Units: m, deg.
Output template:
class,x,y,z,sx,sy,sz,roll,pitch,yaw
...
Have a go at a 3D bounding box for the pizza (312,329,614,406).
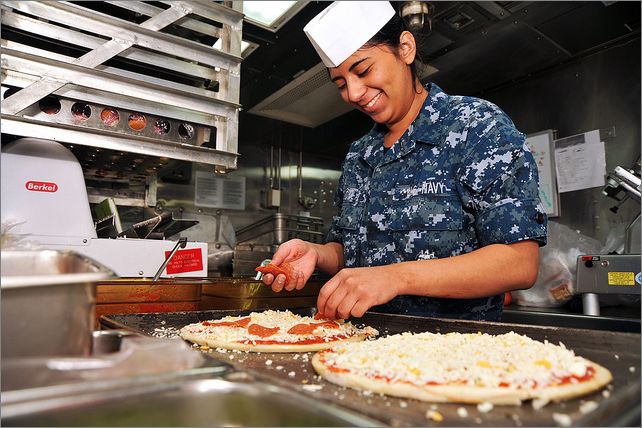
class,x,y,z,sx,sy,sz,roll,pitch,yaw
pizza,0.386,0.433,1.294,0.805,0.094,0.443,-4,-4,17
